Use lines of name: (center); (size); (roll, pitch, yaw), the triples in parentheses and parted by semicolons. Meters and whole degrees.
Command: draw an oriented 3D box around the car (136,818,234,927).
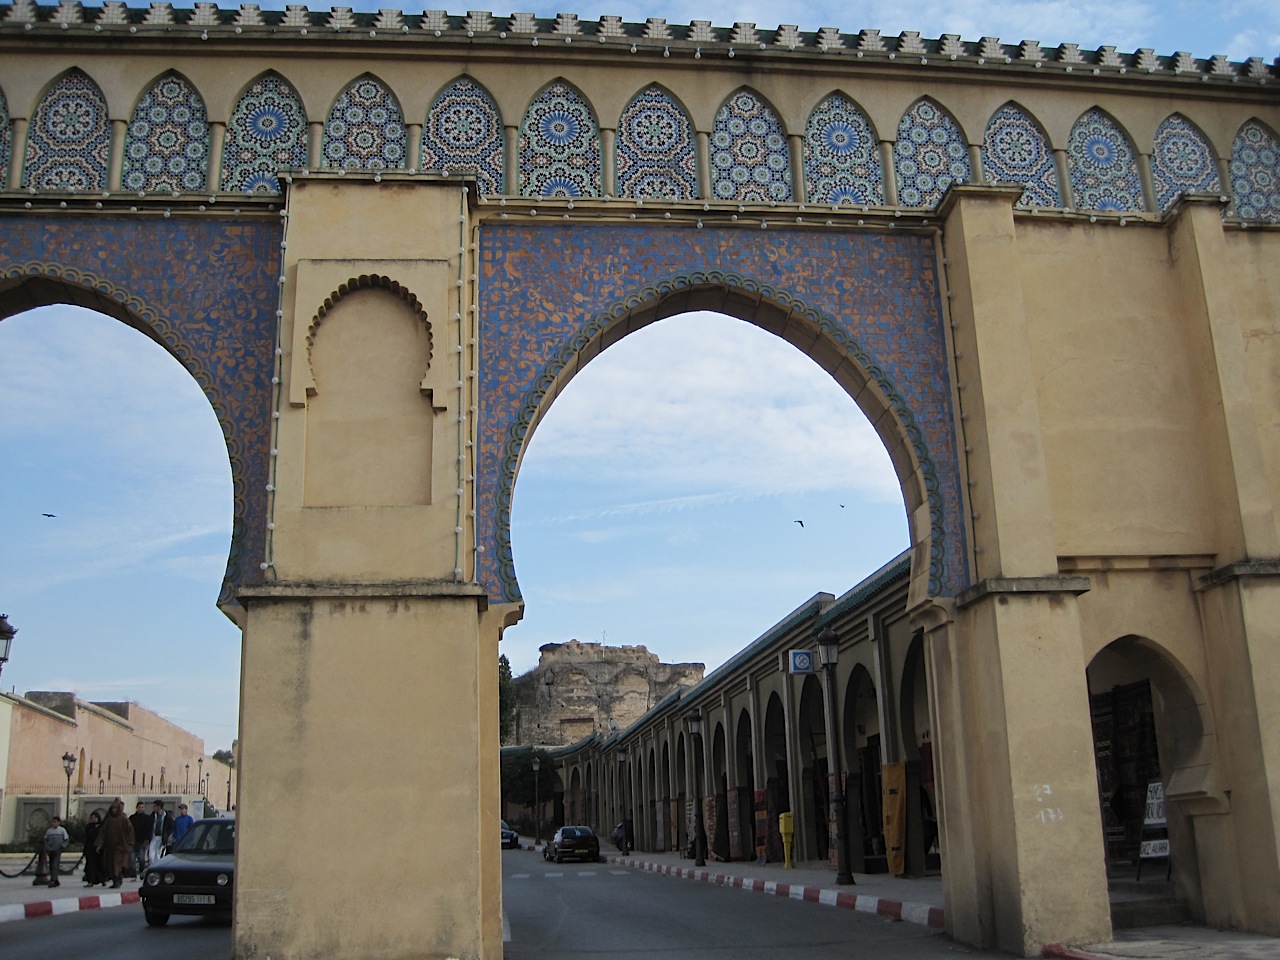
car: (-5.216, 4.680, 14.482); (1.172, 1.096, 2.179); (0, -24, -7)
